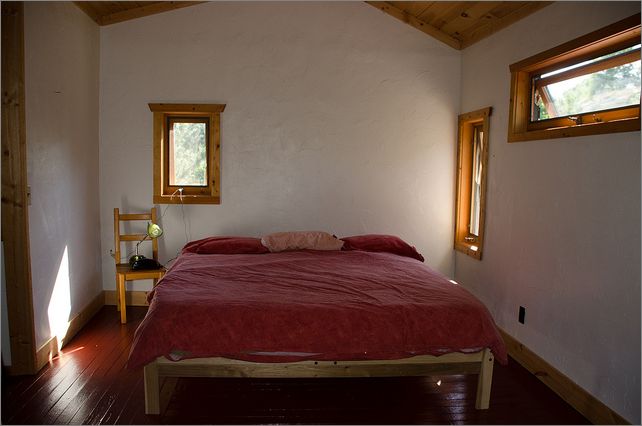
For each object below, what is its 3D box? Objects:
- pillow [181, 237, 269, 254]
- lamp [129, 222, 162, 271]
[{"bbox_3d":[-1.066,0.365,4.934,0.578,0.123,0.375,1,0,-6],"label":"pillow"},{"bbox_3d":[-2.006,0.361,5.072,0.387,0.531,0.303,-6,11,-27],"label":"lamp"}]
